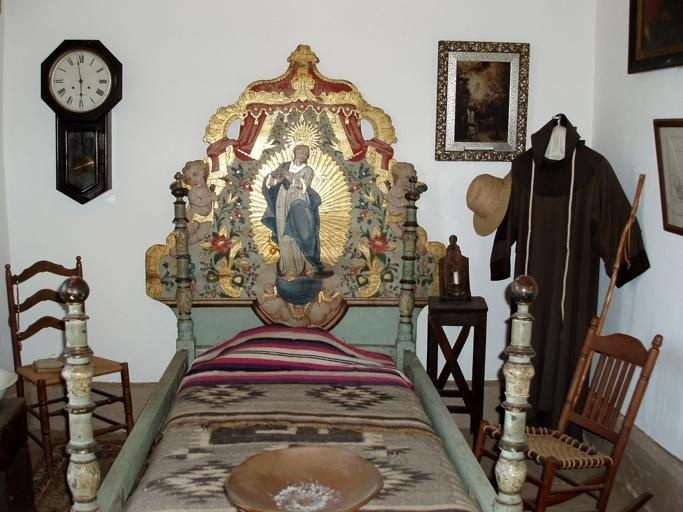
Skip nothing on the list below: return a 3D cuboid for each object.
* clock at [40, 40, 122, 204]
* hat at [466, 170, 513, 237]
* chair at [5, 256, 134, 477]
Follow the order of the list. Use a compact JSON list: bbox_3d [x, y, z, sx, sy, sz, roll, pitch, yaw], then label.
[{"bbox_3d":[-2.125,-1.104,5.820,0.637,1.302,0.144,1,8,7],"label":"clock"},{"bbox_3d":[1.205,-0.438,5.816,0.186,0.489,0.441,10,-2,-14],"label":"hat"},{"bbox_3d":[-2.243,0.830,5.651,1.124,1.599,0.901,0,8,-2],"label":"chair"}]
